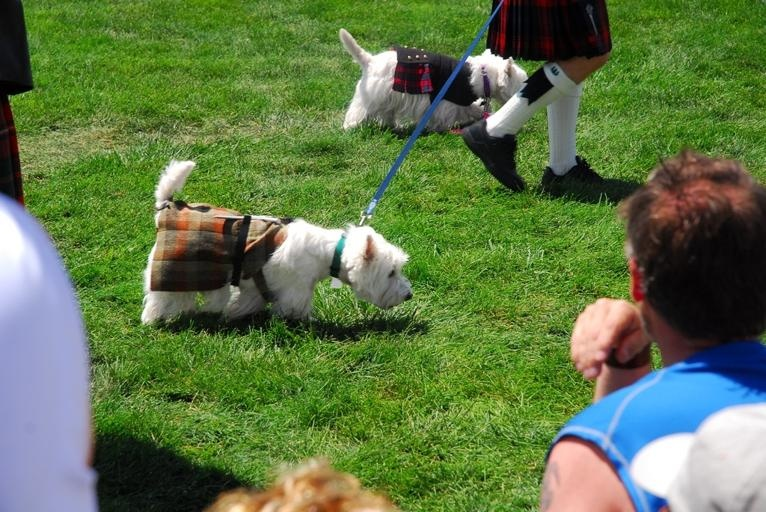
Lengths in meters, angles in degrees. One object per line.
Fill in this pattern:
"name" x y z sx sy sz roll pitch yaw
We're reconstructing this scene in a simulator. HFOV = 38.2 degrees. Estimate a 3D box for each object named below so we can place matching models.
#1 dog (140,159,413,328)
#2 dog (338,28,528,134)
"dog" -0.921 -0.060 8.786 2.375 1.466 0.951 3 29 -8
"dog" 0.392 -1.937 11.848 2.289 1.261 0.902 -2 39 -18
